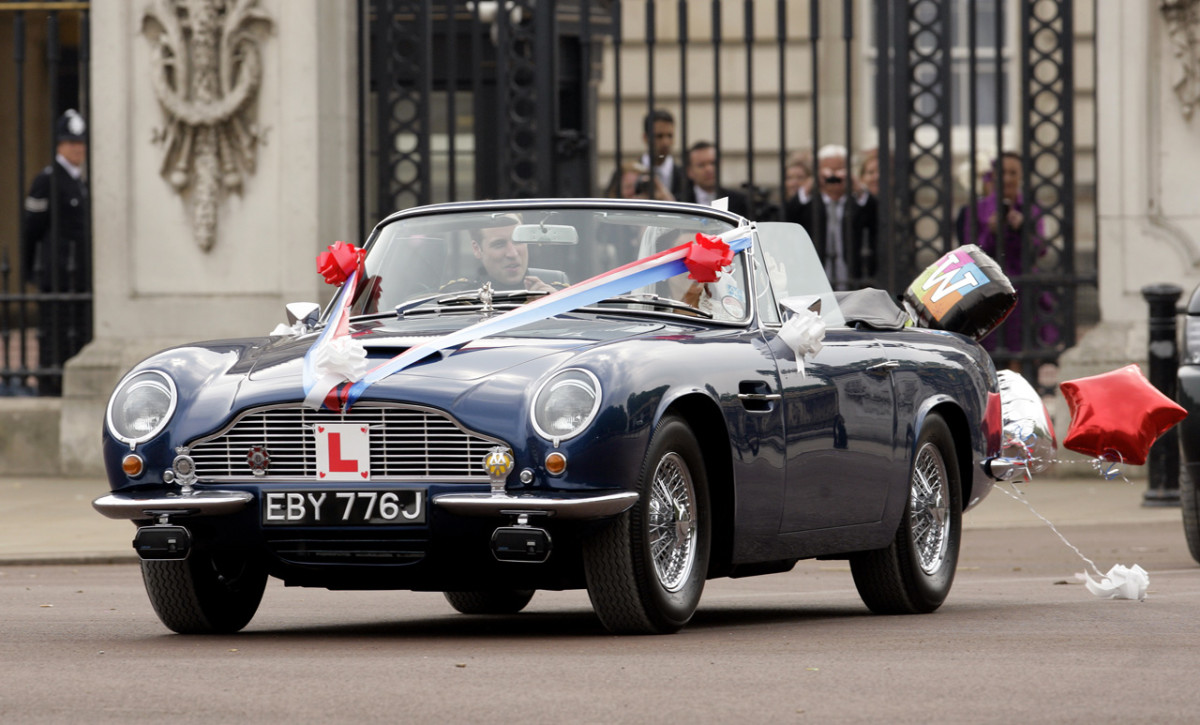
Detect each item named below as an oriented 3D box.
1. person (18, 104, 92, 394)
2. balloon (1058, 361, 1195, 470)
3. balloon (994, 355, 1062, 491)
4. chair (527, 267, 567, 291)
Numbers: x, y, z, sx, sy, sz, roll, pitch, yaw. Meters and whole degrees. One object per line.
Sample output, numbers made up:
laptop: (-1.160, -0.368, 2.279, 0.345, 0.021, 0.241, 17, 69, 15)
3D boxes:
person: (-5.217, -1.121, 26.297, 0.681, 2.452, 0.969, 1, 0, -34)
balloon: (3.705, 0.394, 19.427, 0.856, 0.671, 0.396, 0, 5, 9)
balloon: (3.013, 0.447, 19.287, 0.424, 0.890, 0.422, 0, 0, 8)
chair: (-0.357, -0.545, 17.575, 0.216, 0.145, 0.210, 1, -15, -4)
